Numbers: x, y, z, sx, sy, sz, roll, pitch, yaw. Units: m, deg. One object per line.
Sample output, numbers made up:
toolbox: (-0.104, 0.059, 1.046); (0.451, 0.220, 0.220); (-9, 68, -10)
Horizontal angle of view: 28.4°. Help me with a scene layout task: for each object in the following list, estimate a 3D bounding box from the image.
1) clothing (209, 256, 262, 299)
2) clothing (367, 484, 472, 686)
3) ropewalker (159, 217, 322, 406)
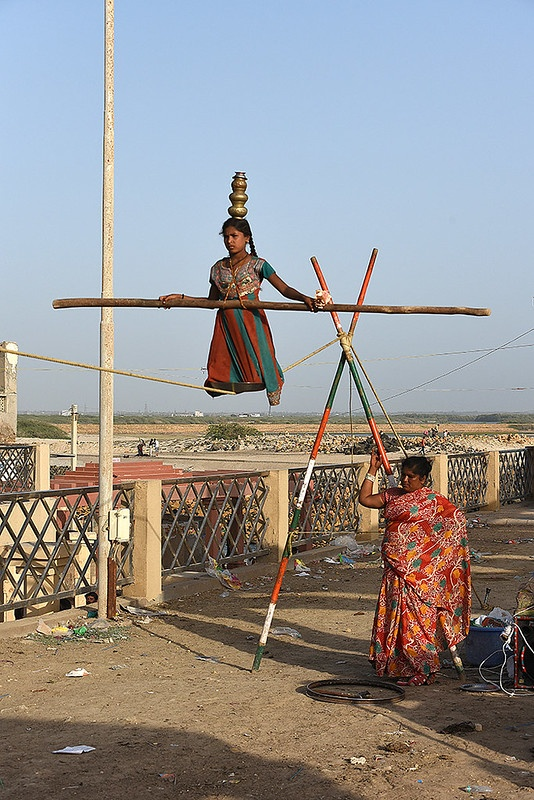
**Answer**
clothing: (-0.214, -0.786, 6.801); (0.371, 0.297, 0.228); (-1, -1, 12)
clothing: (0.922, 1.142, 6.484); (0.601, 1.173, 0.259); (-1, -1, 7)
ropewalker: (-0.169, -0.576, 6.743); (0.802, 1.206, 0.681); (-1, -1, -4)
